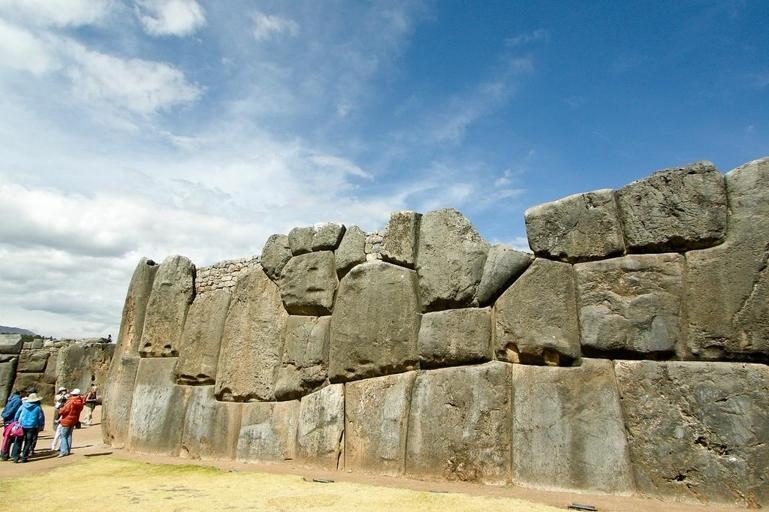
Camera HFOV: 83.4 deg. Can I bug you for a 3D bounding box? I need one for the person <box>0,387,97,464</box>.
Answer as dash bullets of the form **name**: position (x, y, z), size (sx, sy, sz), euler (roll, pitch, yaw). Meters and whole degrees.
- **person**: position (-7.613, 3.784, 9.681), size (1.235, 1.427, 1.107), euler (-10, -13, 36)
